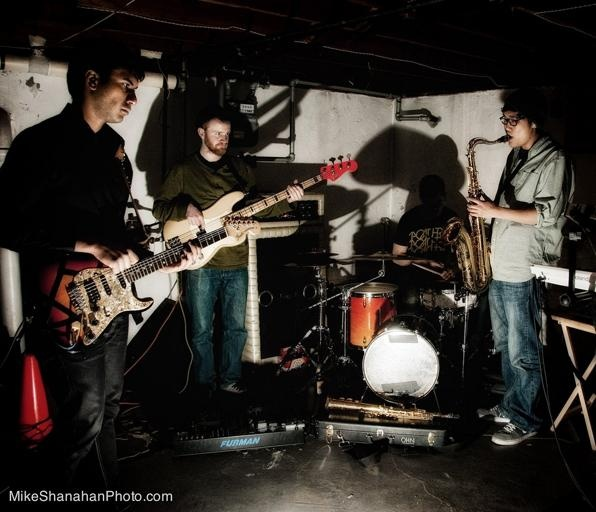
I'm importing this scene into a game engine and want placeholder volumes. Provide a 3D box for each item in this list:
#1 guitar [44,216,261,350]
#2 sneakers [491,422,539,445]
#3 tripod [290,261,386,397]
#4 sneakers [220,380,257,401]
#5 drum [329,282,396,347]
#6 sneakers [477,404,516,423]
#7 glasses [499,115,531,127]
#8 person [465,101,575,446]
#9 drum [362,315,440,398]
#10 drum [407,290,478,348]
[{"bbox_3d":[-0.908,0.157,3.844,0.139,0.357,1.018,-25,4,39],"label":"guitar"},{"bbox_3d":[1.523,1.232,4.076,0.328,0.148,0.129,0,0,-8],"label":"sneakers"},{"bbox_3d":[0.251,0.578,5.286,0.893,1.211,0.967,1,-1,19],"label":"tripod"},{"bbox_3d":[-0.468,1.090,4.682,0.320,0.142,0.123,18,1,-3],"label":"sneakers"},{"bbox_3d":[0.580,0.459,4.780,0.434,0.478,0.469,0,1,4],"label":"drum"},{"bbox_3d":[1.464,1.170,4.312,0.098,0.128,0.262,3,-1,-44],"label":"sneakers"},{"bbox_3d":[1.429,-0.911,3.914,0.107,0.076,0.220,-5,16,-18],"label":"glasses"},{"bbox_3d":[1.498,0.096,4.008,0.558,2.352,0.578,-10,16,-36],"label":"person"},{"bbox_3d":[0.807,0.748,4.424,0.460,0.561,0.529,-4,12,20],"label":"drum"},{"bbox_3d":[1.260,0.472,4.975,0.407,0.298,0.426,0,9,0],"label":"drum"}]
